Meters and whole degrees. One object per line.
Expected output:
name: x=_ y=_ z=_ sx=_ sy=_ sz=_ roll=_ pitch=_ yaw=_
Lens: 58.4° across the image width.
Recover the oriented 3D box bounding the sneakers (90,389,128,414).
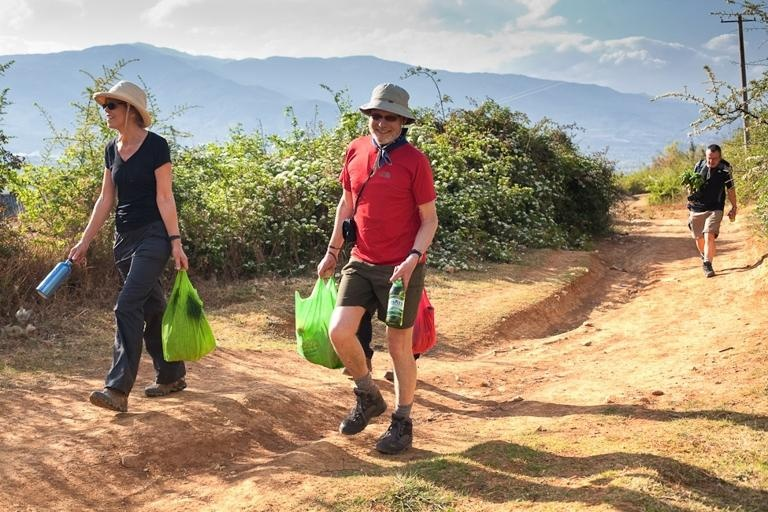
sneakers: x=-2.898 y=1.533 z=7.331 sx=0.463 sy=0.185 sz=0.193 roll=-5 pitch=4 yaw=-20

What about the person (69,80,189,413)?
person: x=-2.758 y=-0.130 z=7.578 sx=1.059 sy=3.568 sz=0.925 roll=-6 pitch=7 yaw=-18

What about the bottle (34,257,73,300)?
bottle: x=-3.668 y=0.264 z=7.714 sx=0.370 sy=0.422 sz=0.339 roll=-7 pitch=8 yaw=-27

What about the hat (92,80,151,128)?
hat: x=-2.716 y=-1.657 z=7.585 sx=0.500 sy=0.219 sz=0.566 roll=8 pitch=-20 yaw=30

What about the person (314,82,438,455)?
person: x=-0.024 y=0.158 z=7.092 sx=1.162 sy=3.788 sz=0.741 roll=-3 pitch=7 yaw=7

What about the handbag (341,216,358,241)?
handbag: x=-0.344 y=-0.284 z=7.124 sx=0.195 sy=0.347 sz=0.257 roll=1 pitch=5 yaw=-1

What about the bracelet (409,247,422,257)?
bracelet: x=0.310 y=-0.032 z=6.858 sx=0.135 sy=0.093 sz=0.085 roll=-4 pitch=7 yaw=-6

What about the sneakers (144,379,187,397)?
sneakers: x=-2.513 y=1.516 z=8.021 sx=0.461 sy=0.218 sz=0.166 roll=2 pitch=5 yaw=-35

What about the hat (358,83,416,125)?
hat: x=0.082 y=-1.552 z=7.094 sx=0.439 sy=0.262 sz=0.499 roll=8 pitch=-18 yaw=14

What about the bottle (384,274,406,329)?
bottle: x=0.103 y=0.465 z=6.807 sx=0.209 sy=0.491 sz=0.129 roll=-4 pitch=7 yaw=-6
